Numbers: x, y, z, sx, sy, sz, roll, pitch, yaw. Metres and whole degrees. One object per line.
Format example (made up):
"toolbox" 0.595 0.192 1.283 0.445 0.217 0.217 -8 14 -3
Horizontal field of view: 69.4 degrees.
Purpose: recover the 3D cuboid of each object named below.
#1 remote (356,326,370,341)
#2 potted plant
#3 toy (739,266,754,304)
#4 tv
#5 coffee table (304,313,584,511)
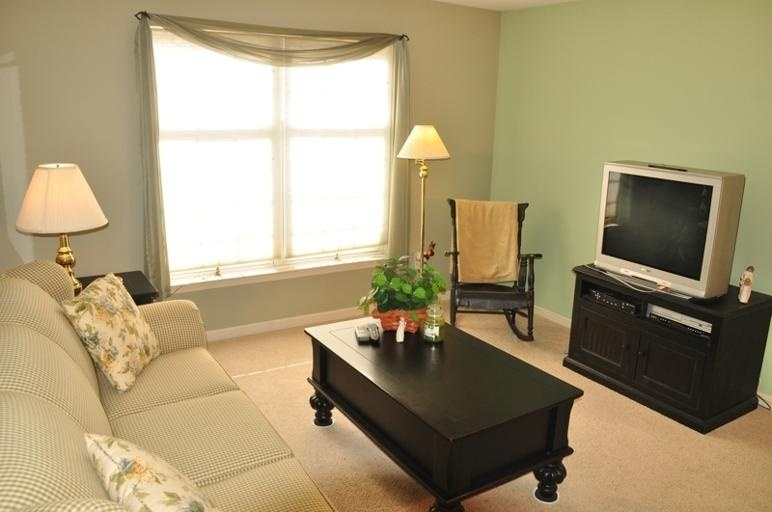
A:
"remote" -0.172 0.552 3.994 0.096 0.042 0.089 2 24 -2
"potted plant" 0.146 0.289 4.230 0.565 0.568 0.401 -8 1 2
"toy" 2.757 0.208 4.257 0.082 0.261 0.269 8 17 33
"tv" 2.282 -0.194 4.409 0.375 0.916 0.940 -8 19 -35
"coffee table" 0.410 0.634 3.477 1.046 0.752 1.611 -7 14 -28
